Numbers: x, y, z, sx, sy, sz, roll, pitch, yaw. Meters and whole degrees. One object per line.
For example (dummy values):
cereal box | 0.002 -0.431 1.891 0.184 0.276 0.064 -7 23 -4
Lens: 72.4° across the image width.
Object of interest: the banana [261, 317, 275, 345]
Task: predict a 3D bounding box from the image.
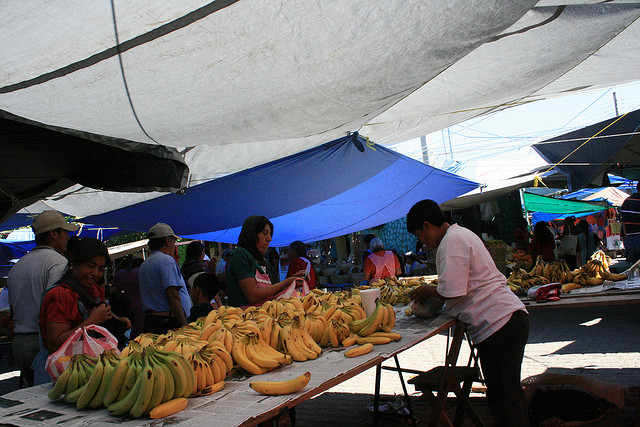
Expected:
banana | -0.430 0.921 3.487 0.049 0.149 0.116 11 -15 -4

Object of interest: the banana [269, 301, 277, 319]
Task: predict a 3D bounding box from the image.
banana | -0.426 0.867 3.934 0.069 0.138 0.148 -3 -11 -3

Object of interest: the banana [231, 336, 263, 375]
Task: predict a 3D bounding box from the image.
banana | -0.549 1.053 3.206 0.222 0.269 0.091 -7 -11 17

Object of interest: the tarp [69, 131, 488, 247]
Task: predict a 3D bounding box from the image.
tarp | -1.005 -0.717 5.892 3.987 0.446 4.116 -20 9 -15

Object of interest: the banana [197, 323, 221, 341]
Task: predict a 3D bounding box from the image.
banana | -0.851 0.920 3.353 0.031 0.117 0.042 15 -27 49

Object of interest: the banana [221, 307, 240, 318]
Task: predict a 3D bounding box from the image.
banana | -0.753 0.846 3.710 0.088 0.074 0.192 -8 -12 22

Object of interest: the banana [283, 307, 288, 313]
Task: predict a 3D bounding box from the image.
banana | -0.306 0.851 3.830 0.025 0.031 0.033 -2 6 5

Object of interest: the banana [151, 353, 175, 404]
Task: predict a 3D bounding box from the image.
banana | -0.986 1.087 2.802 0.068 0.216 0.171 -7 -7 -17

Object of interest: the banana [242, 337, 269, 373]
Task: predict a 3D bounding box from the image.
banana | -0.456 1.041 3.269 0.199 0.233 0.077 -50 -8 27

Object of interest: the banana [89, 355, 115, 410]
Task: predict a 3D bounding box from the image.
banana | -1.412 1.131 2.899 0.097 0.414 0.144 14 -2 -8

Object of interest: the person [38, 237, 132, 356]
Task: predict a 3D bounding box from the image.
person | -2.122 0.715 3.866 0.711 0.949 1.175 0 -12 -16

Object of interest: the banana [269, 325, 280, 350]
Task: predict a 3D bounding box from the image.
banana | -0.363 0.984 3.453 0.057 0.197 0.069 -6 -17 43

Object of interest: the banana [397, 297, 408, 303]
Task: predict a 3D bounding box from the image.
banana | 0.958 1.016 5.107 0.070 0.052 0.066 -4 -4 -28

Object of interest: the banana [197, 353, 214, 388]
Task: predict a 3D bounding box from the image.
banana | -0.768 1.121 3.053 0.067 0.250 0.090 -25 10 -42

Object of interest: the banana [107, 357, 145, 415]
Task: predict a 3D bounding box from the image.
banana | -1.192 1.137 2.831 0.143 0.390 0.108 20 -13 29

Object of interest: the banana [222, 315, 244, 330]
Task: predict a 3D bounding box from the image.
banana | -0.702 0.873 3.508 0.166 0.105 0.334 -1 -12 -13

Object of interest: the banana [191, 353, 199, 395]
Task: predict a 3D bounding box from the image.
banana | -0.855 1.090 2.910 0.050 0.215 0.076 -8 -8 42

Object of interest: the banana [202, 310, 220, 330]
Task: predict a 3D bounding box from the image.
banana | -0.901 0.876 3.586 0.048 0.160 0.056 20 -47 11

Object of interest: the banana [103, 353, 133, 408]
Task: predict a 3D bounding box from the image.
banana | -1.293 1.118 2.839 0.116 0.153 0.446 -13 29 -4

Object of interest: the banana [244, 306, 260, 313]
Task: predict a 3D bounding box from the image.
banana | -0.602 0.856 3.861 0.123 0.047 0.144 -2 -12 -8

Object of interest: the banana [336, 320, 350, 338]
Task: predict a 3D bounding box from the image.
banana | 0.185 0.992 3.710 0.067 0.161 0.073 -33 -1 34

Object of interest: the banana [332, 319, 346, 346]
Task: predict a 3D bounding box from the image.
banana | 0.172 1.019 3.706 0.068 0.258 0.089 -13 2 24

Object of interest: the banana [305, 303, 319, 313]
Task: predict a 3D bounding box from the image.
banana | -0.081 0.869 4.018 0.038 0.051 0.144 -6 14 27

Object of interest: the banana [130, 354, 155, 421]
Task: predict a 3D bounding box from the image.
banana | -1.125 1.107 2.772 0.169 0.389 0.086 -9 -12 30

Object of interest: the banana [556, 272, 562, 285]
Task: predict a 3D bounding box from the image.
banana | 2.996 0.828 5.486 0.032 0.121 0.022 -3 -8 -39

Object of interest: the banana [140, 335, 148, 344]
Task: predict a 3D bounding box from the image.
banana | -1.346 0.965 3.329 0.050 0.058 0.112 0 -12 -18

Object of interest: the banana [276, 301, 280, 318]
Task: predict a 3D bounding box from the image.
banana | -0.381 0.866 3.933 0.029 0.114 0.067 -4 -11 5

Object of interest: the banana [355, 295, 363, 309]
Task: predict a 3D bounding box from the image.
banana | 0.365 0.856 4.172 0.040 0.156 0.028 -10 -7 0

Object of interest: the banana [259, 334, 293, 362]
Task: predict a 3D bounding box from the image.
banana | -0.355 1.054 3.390 0.224 0.075 0.227 31 -14 13

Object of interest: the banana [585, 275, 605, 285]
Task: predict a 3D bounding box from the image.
banana | 3.494 0.855 5.549 0.299 0.111 0.068 3 -12 -28

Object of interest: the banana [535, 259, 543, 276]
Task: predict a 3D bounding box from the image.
banana | 2.866 0.724 5.726 0.058 0.195 0.066 4 -32 23

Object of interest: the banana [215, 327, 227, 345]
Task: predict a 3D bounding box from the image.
banana | -0.742 0.923 3.265 0.036 0.136 0.055 6 -14 7

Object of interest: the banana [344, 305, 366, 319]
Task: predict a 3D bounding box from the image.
banana | 0.307 0.898 3.943 0.131 0.046 0.178 5 0 -1

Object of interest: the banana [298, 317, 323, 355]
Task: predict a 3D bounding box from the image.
banana | -0.091 1.002 3.545 0.074 0.291 0.101 -22 -14 -46

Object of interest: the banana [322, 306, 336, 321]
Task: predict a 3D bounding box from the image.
banana | 0.081 0.873 3.861 0.049 0.188 0.063 5 -51 28

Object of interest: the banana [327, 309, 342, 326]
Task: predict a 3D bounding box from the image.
banana | 0.128 0.888 3.814 0.051 0.196 0.069 21 -48 15

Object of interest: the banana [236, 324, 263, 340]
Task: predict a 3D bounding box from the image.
banana | -0.592 0.939 3.453 0.328 0.099 0.068 -3 -1 38

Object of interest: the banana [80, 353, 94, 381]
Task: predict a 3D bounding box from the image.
banana | -1.569 1.050 2.983 0.049 0.187 0.071 -19 -11 -28

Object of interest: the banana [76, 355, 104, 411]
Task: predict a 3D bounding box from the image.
banana | -1.522 1.140 2.880 0.068 0.328 0.116 20 4 12

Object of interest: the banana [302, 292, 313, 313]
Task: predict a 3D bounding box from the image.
banana | -0.122 0.866 4.212 0.049 0.188 0.061 13 -22 3

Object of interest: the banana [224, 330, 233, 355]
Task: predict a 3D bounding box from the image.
banana | -0.682 0.962 3.242 0.046 0.165 0.059 -11 -22 13

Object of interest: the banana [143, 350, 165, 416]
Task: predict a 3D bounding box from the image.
banana | -1.020 1.151 2.724 0.083 0.132 0.392 -12 24 -15

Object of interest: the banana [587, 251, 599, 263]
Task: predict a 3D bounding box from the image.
banana | 3.633 0.591 5.814 0.142 0.137 0.253 -11 -13 33

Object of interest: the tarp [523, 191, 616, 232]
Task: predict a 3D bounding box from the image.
tarp | 9.084 -0.321 16.893 2.964 0.825 2.719 2 -24 -8

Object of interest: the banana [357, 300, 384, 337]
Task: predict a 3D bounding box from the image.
banana | 0.466 0.913 3.771 0.305 0.137 0.104 -43 -33 -6

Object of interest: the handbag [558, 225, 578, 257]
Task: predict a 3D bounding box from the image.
handbag | 5.886 0.637 10.359 0.307 0.501 0.172 0 10 30

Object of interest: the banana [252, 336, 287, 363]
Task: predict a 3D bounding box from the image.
banana | -0.394 1.041 3.310 0.349 0.128 0.064 21 -15 7

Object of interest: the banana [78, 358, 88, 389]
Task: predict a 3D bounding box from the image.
banana | -1.597 1.079 2.936 0.041 0.196 0.051 -21 -5 34

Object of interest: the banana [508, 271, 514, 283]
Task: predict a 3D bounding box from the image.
banana | 2.469 0.837 5.655 0.068 0.267 0.027 32 -49 4
